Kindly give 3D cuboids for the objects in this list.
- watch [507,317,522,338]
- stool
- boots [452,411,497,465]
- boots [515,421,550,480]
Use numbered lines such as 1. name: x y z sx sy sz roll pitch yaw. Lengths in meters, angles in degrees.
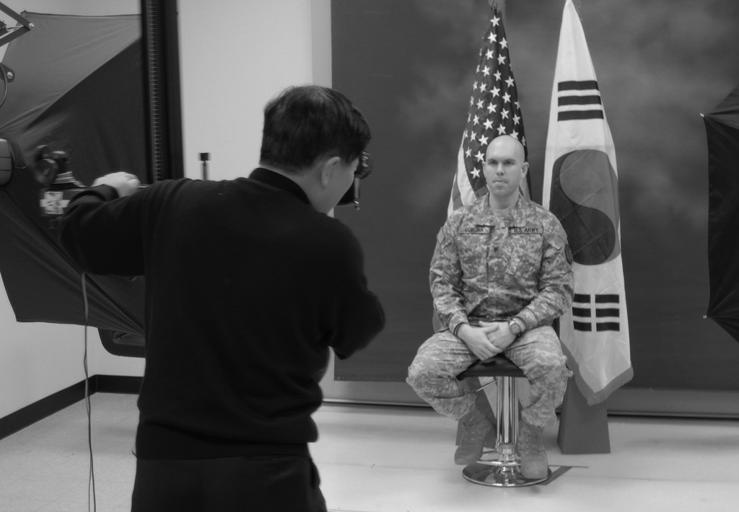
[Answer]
1. watch: 0.681 0.328 3.584 0.054 0.090 0.079 3 1 19
2. stool: 0.674 0.747 3.695 0.522 0.550 0.556 7 -10 -22
3. boots: 0.504 0.884 3.798 0.120 0.250 0.346 -9 3 34
4. boots: 0.772 0.905 3.666 0.156 0.299 0.153 3 11 18
